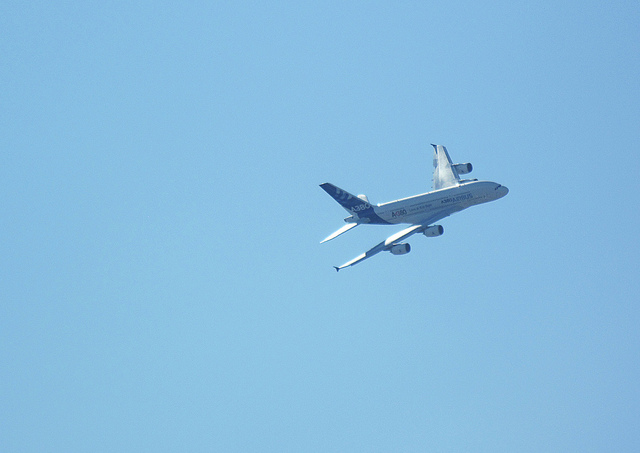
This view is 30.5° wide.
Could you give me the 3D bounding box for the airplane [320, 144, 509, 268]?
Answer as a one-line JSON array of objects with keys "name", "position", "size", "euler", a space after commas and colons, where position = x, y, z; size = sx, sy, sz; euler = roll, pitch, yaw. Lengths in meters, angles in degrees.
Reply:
[{"name": "airplane", "position": [18.562, -3.692, 230.762], "size": [24.399, 32.030, 7.598], "euler": [-9, -52, 30]}]
